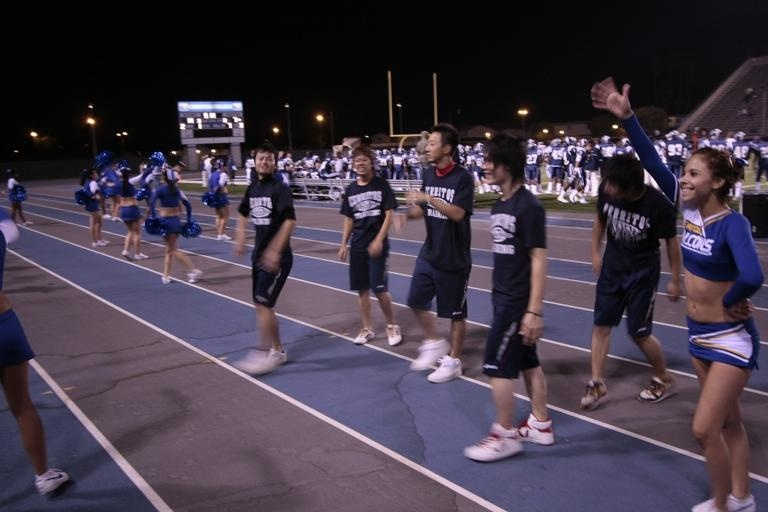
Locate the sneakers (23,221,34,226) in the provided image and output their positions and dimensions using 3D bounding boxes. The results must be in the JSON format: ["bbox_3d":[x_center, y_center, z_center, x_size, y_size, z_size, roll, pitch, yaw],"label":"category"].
[{"bbox_3d":[-14.161,-1.286,21.181,0.364,0.239,0.116,-8,22,-15],"label":"sneakers"}]

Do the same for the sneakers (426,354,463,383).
[{"bbox_3d":[0.665,1.268,6.006,0.438,0.185,0.204,4,-8,-43],"label":"sneakers"}]

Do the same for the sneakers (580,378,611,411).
[{"bbox_3d":[2.075,1.364,5.313,0.293,0.265,0.150,-13,18,-37],"label":"sneakers"}]

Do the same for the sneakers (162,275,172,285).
[{"bbox_3d":[-4.332,0.462,10.628,0.105,0.116,0.282,-1,4,-42],"label":"sneakers"}]

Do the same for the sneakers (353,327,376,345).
[{"bbox_3d":[-0.263,1.067,7.098,0.137,0.142,0.351,-1,-8,22],"label":"sneakers"}]

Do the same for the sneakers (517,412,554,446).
[{"bbox_3d":[1.341,1.526,4.853,0.175,0.240,0.407,-6,8,-37],"label":"sneakers"}]
